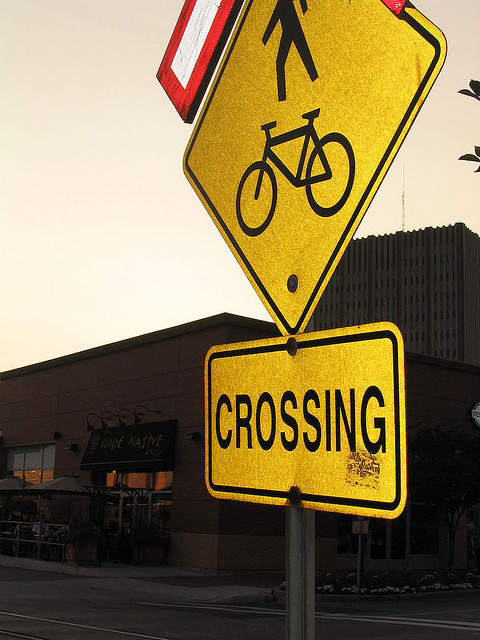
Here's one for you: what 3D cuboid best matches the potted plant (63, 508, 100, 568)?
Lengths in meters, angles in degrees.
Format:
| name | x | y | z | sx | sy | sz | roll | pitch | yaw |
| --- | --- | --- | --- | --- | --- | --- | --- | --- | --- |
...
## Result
| name | x | y | z | sx | sy | sz | roll | pitch | yaw |
| --- | --- | --- | --- | --- | --- | --- | --- | --- | --- |
| potted plant | -4.452 | 5.936 | 21.344 | 0.857 | 1.765 | 0.745 | -4 | -10 | 40 |

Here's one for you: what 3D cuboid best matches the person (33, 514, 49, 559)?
| name | x | y | z | sx | sy | sz | roll | pitch | yaw |
| --- | --- | --- | --- | --- | --- | --- | --- | --- | --- |
| person | -6.037 | 6.489 | 23.154 | 0.481 | 1.355 | 2.638 | 5 | -18 | -14 |

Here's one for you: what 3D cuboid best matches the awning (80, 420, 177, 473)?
| name | x | y | z | sx | sy | sz | roll | pitch | yaw |
| --- | --- | --- | --- | --- | --- | --- | --- | --- | --- |
| awning | -3.625 | 4.108 | 24.931 | 0.567 | 1.750 | 4.846 | 12 | -21 | -39 |

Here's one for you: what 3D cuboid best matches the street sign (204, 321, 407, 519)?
| name | x | y | z | sx | sy | sz | roll | pitch | yaw |
| --- | --- | --- | --- | --- | --- | --- | --- | --- | --- |
| street sign | 0.091 | 0.158 | 1.237 | 0.336 | 0.289 | 0.014 | -3 | -3 | 24 |
